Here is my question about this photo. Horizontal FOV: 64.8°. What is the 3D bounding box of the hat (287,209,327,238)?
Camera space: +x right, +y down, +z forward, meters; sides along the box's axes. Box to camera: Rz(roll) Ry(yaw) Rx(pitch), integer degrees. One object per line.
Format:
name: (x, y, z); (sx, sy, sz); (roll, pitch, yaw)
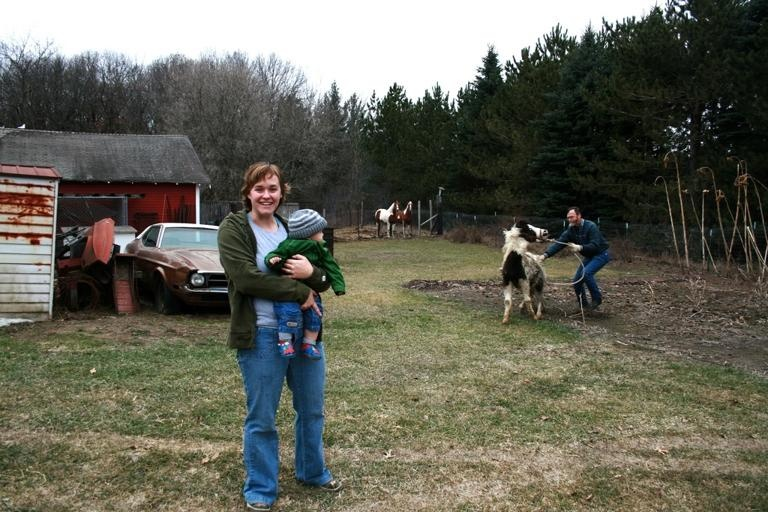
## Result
hat: (-0.878, -0.377, 6.837); (0.341, 0.225, 0.350); (-5, 15, 0)

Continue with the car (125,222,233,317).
car: (-4.989, 0.272, 14.298); (1.872, 1.226, 3.744); (1, 4, -34)

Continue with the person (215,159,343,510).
person: (-1.221, 0.892, 6.794); (1.215, 3.750, 0.998); (-1, 12, -11)

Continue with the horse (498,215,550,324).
horse: (3.113, 0.321, 13.516); (1.193, 2.163, 0.671); (-3, 12, -20)

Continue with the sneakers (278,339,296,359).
sneakers: (-1.076, 1.010, 6.654); (0.119, 0.110, 0.222); (-1, -4, -21)

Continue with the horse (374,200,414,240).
horse: (0.618, -2.687, 42.571); (2.220, 2.707, 3.066); (-2, 13, -18)

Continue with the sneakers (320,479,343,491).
sneakers: (-0.602, 2.676, 7.070); (0.198, 0.082, 0.113); (-1, 2, -15)

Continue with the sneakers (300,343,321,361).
sneakers: (-0.817, 1.061, 6.750); (0.219, 0.165, 0.134); (-1, -1, -18)
